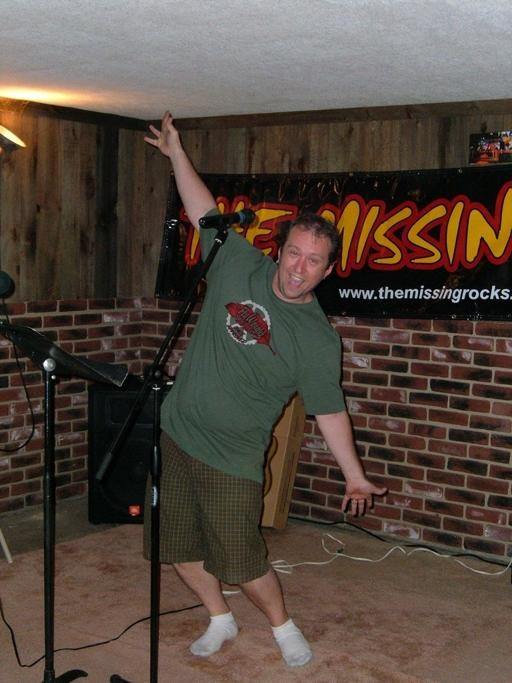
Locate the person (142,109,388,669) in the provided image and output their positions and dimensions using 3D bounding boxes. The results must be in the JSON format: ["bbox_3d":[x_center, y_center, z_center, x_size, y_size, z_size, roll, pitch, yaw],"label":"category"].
[{"bbox_3d":[0.018,0.376,2.364,0.720,1.666,0.361,3,4,-7],"label":"person"}]

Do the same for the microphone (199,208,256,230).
[{"bbox_3d":[-0.050,-0.376,2.005,0.228,0.062,0.065,-9,9,-27],"label":"microphone"}]
